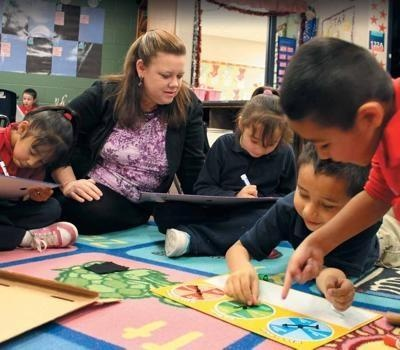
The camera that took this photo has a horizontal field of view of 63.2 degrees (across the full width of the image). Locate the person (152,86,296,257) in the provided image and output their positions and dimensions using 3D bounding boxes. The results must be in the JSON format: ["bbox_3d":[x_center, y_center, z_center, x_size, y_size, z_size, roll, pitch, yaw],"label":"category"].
[{"bbox_3d":[0.012,-0.016,1.676,0.621,0.746,0.785,10,1,24],"label":"person"}]

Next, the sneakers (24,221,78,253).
[{"bbox_3d":[-0.569,0.251,1.282,0.207,0.069,0.081,-3,14,3],"label":"sneakers"}]

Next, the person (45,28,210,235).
[{"bbox_3d":[-0.267,-0.286,2.124,0.997,1.184,0.938,1,18,-38],"label":"person"}]

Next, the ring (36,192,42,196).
[{"bbox_3d":[-0.670,0.081,1.359,0.012,0.016,0.004,7,-5,12],"label":"ring"}]

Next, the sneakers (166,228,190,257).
[{"bbox_3d":[-0.085,0.270,1.273,0.095,0.089,0.111,4,-1,-5],"label":"sneakers"}]
